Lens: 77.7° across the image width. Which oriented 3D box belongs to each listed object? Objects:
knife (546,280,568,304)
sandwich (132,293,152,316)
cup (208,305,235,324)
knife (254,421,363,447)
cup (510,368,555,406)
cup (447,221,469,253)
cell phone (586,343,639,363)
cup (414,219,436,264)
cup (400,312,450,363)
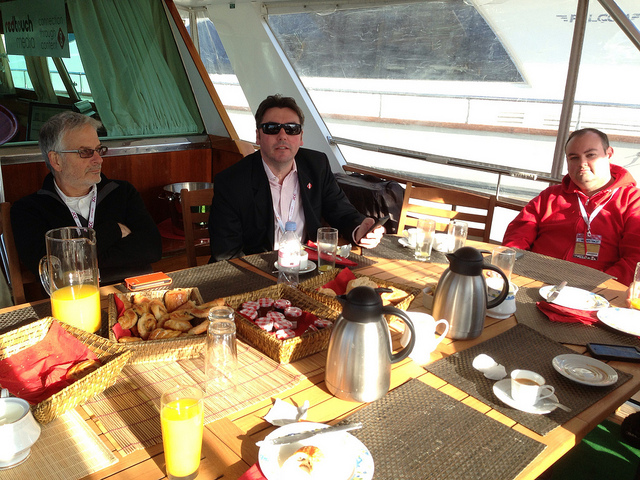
[{"bbox_3d":[0.894,0.179,1.535,0.035,0.018,0.242,26,27,23],"label":"knife"},{"bbox_3d":[-0.546,0.193,1.228,0.053,0.024,0.065,-13,50,-30],"label":"sandwich"},{"bbox_3d":[-0.254,0.188,1.033,0.052,0.046,0.051,2,12,-1],"label":"cup"},{"bbox_3d":[-0.023,0.426,0.875,0.205,0.029,0.026,-8,58,-11],"label":"knife"},{"bbox_3d":[0.551,0.393,1.032,0.077,0.053,0.112,8,-9,-34],"label":"cup"},{"bbox_3d":[0.622,-0.017,1.824,0.107,0.161,0.108,2,21,-1],"label":"cup"},{"bbox_3d":[0.905,0.346,1.241,0.138,0.017,0.063,2,20,5],"label":"cell phone"},{"bbox_3d":[0.490,-0.017,1.906,0.112,0.195,0.111,2,19,-1],"label":"cup"},{"bbox_3d":[0.312,0.258,1.181,0.160,0.139,0.097,8,49,31],"label":"cup"}]
